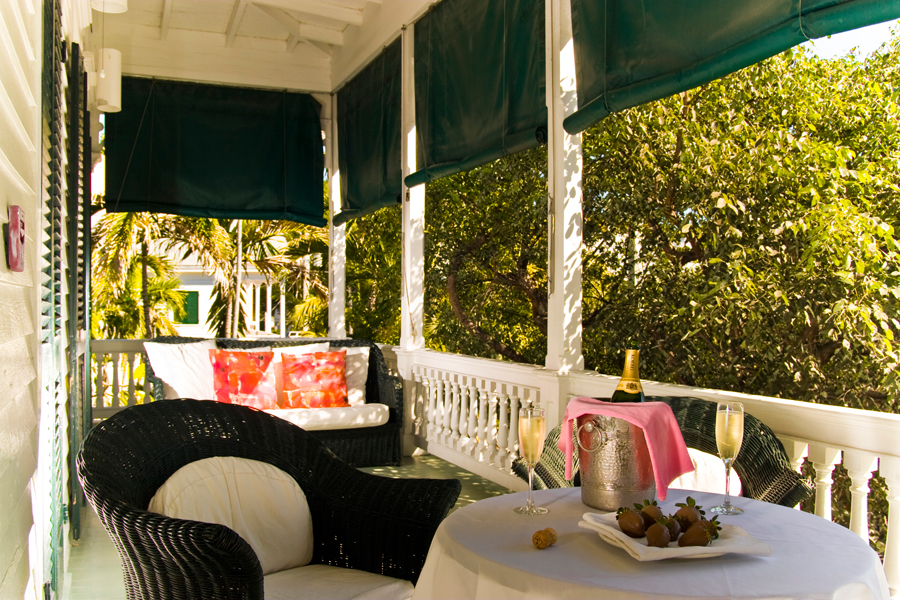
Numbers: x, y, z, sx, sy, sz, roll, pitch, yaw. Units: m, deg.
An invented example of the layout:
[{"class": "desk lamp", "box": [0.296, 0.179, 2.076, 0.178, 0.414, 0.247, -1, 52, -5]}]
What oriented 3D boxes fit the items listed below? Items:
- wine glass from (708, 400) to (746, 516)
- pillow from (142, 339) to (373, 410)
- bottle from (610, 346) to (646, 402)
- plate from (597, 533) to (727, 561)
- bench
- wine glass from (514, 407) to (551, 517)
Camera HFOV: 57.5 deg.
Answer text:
[{"class": "wine glass", "box": [1.025, 0.560, 3.003, 0.111, 0.434, 0.131, 2, 4, 9]}, {"class": "pillow", "box": [-1.461, 0.552, 6.204, 1.586, 0.527, 0.449, 2, -1, -24]}, {"class": "bottle", "box": [0.681, 0.272, 3.130, 0.107, 0.181, 0.444, 2, -1, 13]}, {"class": "plate", "box": [0.695, 0.810, 2.678, 0.417, 0.085, 0.128, 2, -1, 12]}, {"class": "bench", "box": [-1.274, 0.816, 6.238, 1.648, 0.923, 0.587, -1, 11, -18]}, {"class": "wine glass", "box": [0.311, 0.573, 2.991, 0.096, 0.420, 0.115, 1, 3, -16]}]
